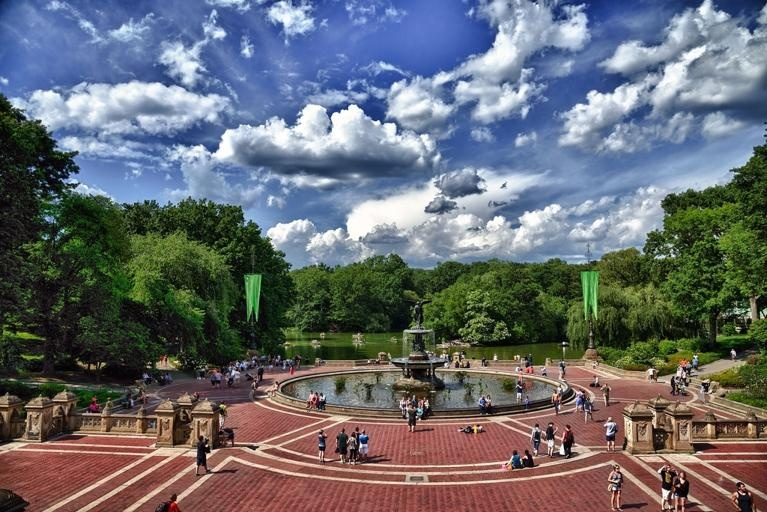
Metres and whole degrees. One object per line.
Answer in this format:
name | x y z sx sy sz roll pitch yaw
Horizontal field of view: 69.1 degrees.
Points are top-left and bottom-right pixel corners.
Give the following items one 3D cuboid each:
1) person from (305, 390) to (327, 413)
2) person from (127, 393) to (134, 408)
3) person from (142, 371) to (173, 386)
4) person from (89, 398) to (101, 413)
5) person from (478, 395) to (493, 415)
person | -4.928 10.638 40.956 1.397 1.382 0.958 -12 -16 34
person | -19.048 10.806 41.777 0.452 1.046 1.437 3 -15 -24
person | -20.701 11.144 50.479 2.114 1.108 1.233 10 15 39
person | -20.078 10.323 38.547 0.659 1.234 0.988 -5 -6 -16
person | 7.313 10.637 39.886 0.828 1.214 0.688 -12 -16 33
